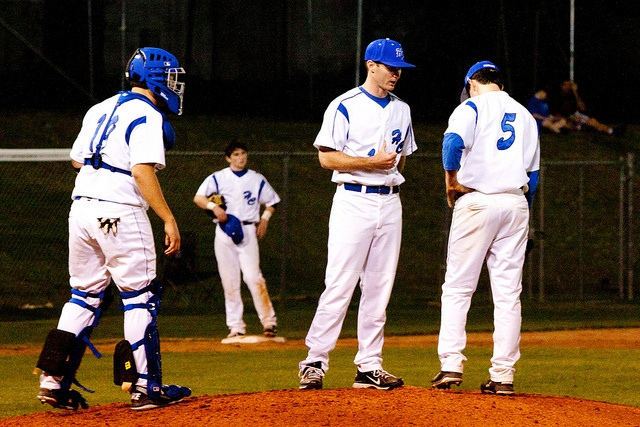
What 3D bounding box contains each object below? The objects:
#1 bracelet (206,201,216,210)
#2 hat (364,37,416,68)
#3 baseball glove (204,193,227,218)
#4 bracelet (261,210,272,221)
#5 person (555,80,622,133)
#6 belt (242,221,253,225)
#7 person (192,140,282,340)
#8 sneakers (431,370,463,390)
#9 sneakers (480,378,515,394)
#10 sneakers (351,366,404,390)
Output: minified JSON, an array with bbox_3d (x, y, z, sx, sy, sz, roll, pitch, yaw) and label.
[{"bbox_3d":[-1.828,-0.120,18.490,0.125,0.096,0.129,-1,2,1],"label":"bracelet"},{"bbox_3d":[0.932,-2.208,15.342,0.564,0.301,0.369,4,5,16],"label":"hat"},{"bbox_3d":[-1.743,-0.162,18.696,0.406,0.308,0.241,44,13,2],"label":"baseball glove"},{"bbox_3d":[-0.925,0.049,18.828,0.166,0.176,0.163,2,-5,-5],"label":"bracelet"},{"bbox_3d":[6.550,-2.579,27.463,0.980,1.084,3.467,3,1,25],"label":"person"},{"bbox_3d":[-1.231,0.168,18.532,0.161,0.055,0.035,1,2,-23],"label":"belt"},{"bbox_3d":[-1.384,0.458,18.652,1.349,3.326,0.581,2,2,-6],"label":"person"},{"bbox_3d":[1.734,2.294,15.160,0.433,0.246,0.192,-3,-8,39],"label":"sneakers"},{"bbox_3d":[2.426,2.373,15.140,0.408,0.188,0.190,8,6,43],"label":"sneakers"},{"bbox_3d":[0.790,2.273,15.204,0.608,0.282,0.286,-2,-3,11],"label":"sneakers"}]
